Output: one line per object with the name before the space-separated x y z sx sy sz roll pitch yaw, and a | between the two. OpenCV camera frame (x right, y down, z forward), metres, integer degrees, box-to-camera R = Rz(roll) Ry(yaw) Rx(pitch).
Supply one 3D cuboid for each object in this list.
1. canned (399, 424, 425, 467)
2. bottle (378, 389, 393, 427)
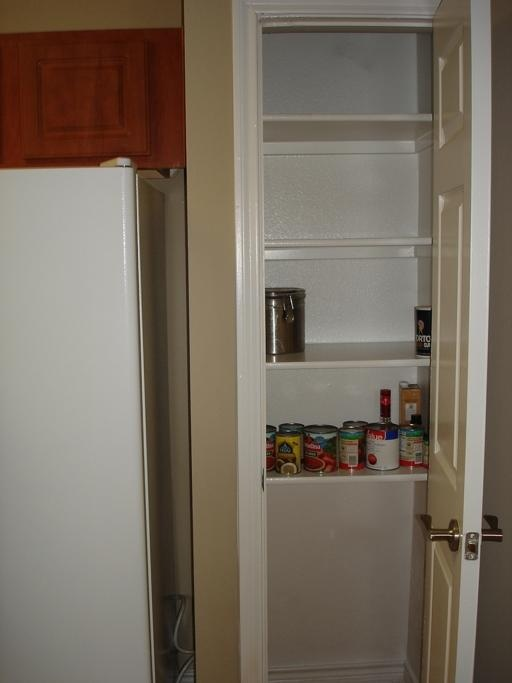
canned | 0.402 0.273 1.611 0.065 0.110 0.081 -1 4 10
bottle | 0.338 0.172 1.626 0.023 0.084 0.039 1 4 2
